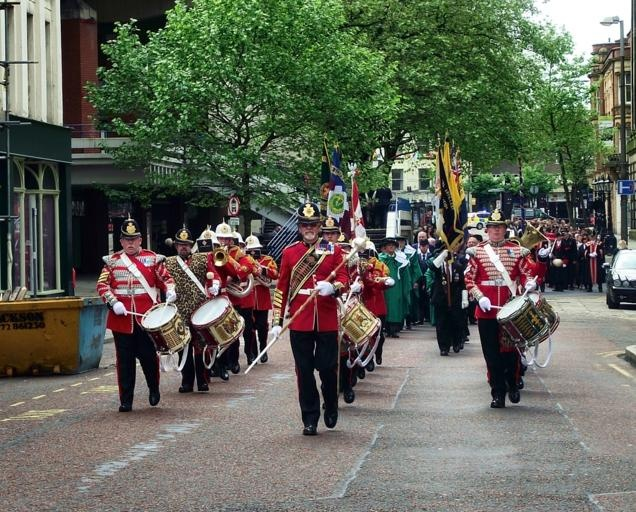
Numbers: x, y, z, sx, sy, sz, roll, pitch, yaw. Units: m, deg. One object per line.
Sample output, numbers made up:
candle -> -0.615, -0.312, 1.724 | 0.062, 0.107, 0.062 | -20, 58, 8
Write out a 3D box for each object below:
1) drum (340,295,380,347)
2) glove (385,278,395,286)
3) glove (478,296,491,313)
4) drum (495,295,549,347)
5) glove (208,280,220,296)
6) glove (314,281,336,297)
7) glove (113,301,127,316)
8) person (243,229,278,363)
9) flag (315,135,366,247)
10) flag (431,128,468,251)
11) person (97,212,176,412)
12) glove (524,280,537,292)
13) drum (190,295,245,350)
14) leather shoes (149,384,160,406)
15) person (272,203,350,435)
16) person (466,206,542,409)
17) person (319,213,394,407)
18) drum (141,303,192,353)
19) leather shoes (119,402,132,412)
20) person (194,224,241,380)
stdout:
drum -> 0.485, 0.818, 13.956 | 0.591, 0.566, 0.435 | 4, 7, -5
glove -> 1.074, 0.400, 16.843 | 0.144, 0.066, 0.160 | 3, -8, -4
glove -> 2.077, 0.613, 13.901 | 0.168, 0.212, 0.199 | -2, 3, 6
drum -> 2.487, 0.825, 13.795 | 0.685, 0.584, 0.690 | 0, 4, 22
glove -> -1.403, 0.443, 15.091 | 0.218, 0.177, 0.094 | -14, 2, 5
glove -> 0.080, 0.366, 12.427 | 0.141, 0.150, 0.192 | 0, 3, 43
glove -> -2.451, 0.660, 13.818 | 0.188, 0.187, 0.174 | -3, 3, -11
person -> -0.930, 0.630, 18.316 | 0.639, 2.054, 0.557 | 1, 6, -3
flag -> 0.415, -1.190, 22.103 | 0.778, 2.198, 0.575 | 0, 11, 15
flag -> 2.636, -1.235, 22.494 | 0.624, 2.688, 0.412 | 5, 10, 20
person -> -2.335, 0.651, 13.978 | 1.143, 2.268, 0.935 | 1, 10, -6
glove -> 2.656, 0.380, 13.989 | 0.122, 0.144, 0.050 | 9, 5, -43
drum -> -1.379, 0.918, 14.903 | 0.656, 0.688, 0.658 | -2, 3, 5
leather shoes -> -2.018, 1.755, 13.948 | 0.108, 0.250, 0.192 | -2, -6, 2
person -> -0.121, 0.660, 12.611 | 1.011, 2.423, 0.990 | 2, 8, 3
person -> 2.379, 0.698, 14.294 | 1.134, 2.332, 1.082 | -2, 0, -12
person -> 0.458, 0.634, 15.918 | 1.160, 2.389, 0.939 | 3, 9, 7
drum -> -1.931, 0.912, 13.844 | 0.461, 0.600, 0.649 | -1, 3, 15
leather shoes -> -2.357, 1.853, 13.627 | 0.139, 0.108, 0.127 | -2, 3, 3
person -> -1.246, 0.566, 15.999 | 0.636, 1.808, 0.753 | -12, 7, -21
